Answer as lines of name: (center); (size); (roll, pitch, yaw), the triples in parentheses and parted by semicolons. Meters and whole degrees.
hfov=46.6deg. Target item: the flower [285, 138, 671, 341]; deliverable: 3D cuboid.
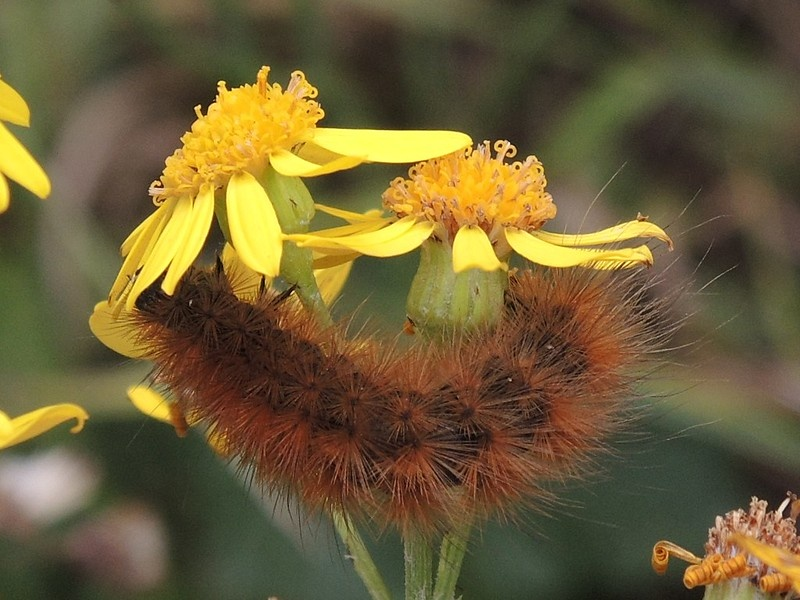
flower: (0.080, -0.047, 1.000); (0.352, 0.415, 0.270); (6, 91, 12)

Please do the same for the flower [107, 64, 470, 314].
flower: (-0.125, -0.117, 0.967); (0.278, 0.290, 0.186); (1, 103, 6)
